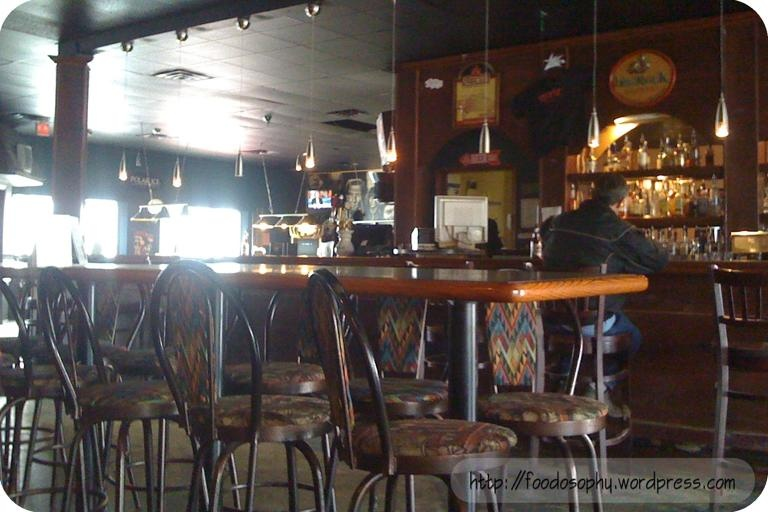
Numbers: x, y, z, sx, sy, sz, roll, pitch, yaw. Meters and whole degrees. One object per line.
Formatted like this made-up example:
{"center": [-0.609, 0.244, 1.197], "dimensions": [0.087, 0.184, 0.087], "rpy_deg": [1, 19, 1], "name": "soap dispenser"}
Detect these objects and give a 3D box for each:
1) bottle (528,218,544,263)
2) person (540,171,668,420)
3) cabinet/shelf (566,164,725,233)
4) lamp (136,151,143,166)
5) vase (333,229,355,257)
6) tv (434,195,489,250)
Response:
{"center": [1.544, -0.135, 7.756], "dimensions": [0.113, 0.317, 0.111], "rpy_deg": [1, -2, 0], "name": "bottle"}
{"center": [1.881, 0.295, 6.507], "dimensions": [1.055, 1.924, 0.914], "rpy_deg": [-17, 24, -27], "name": "person"}
{"center": [2.873, -0.524, 8.543], "dimensions": [1.740, 0.768, 0.462], "rpy_deg": [3, -26, 12], "name": "cabinet/shelf"}
{"center": [-5.478, -2.156, 17.074], "dimensions": [0.160, 0.331, 0.126], "rpy_deg": [0, -1, -19], "name": "lamp"}
{"center": [-0.457, -0.146, 8.483], "dimensions": [0.270, 0.351, 0.265], "rpy_deg": [5, -6, -13], "name": "vase"}
{"center": [0.716, -0.318, 7.228], "dimensions": [0.544, 0.534, 0.194], "rpy_deg": [1, 2, -4], "name": "tv"}
